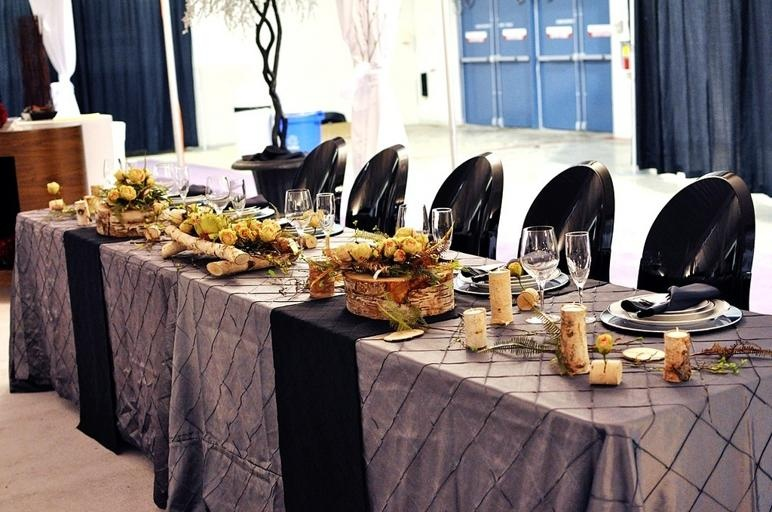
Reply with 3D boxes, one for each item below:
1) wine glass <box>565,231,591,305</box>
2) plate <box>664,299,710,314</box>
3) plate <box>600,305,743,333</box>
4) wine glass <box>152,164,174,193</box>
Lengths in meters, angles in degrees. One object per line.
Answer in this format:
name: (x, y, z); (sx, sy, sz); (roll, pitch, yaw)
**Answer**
wine glass: (0.577, 0.033, 1.775); (0.062, 0.227, 0.135); (5, 15, 32)
plate: (0.875, 0.141, 1.750); (0.096, 0.025, 0.065); (-2, 7, -10)
plate: (0.843, 0.188, 1.751); (0.401, 0.042, 0.184); (-1, 13, 11)
wine glass: (-1.251, -0.449, 3.382); (0.103, 0.177, 0.498); (-7, 13, -18)
